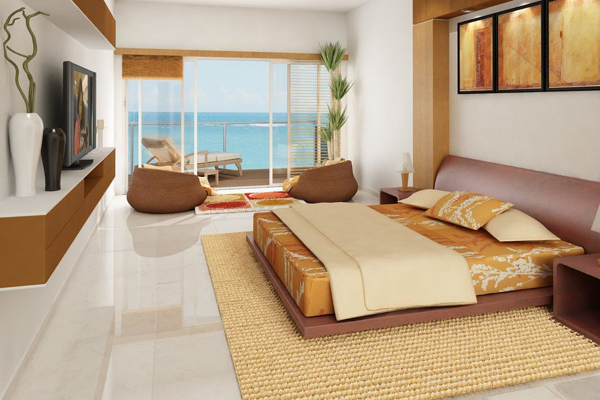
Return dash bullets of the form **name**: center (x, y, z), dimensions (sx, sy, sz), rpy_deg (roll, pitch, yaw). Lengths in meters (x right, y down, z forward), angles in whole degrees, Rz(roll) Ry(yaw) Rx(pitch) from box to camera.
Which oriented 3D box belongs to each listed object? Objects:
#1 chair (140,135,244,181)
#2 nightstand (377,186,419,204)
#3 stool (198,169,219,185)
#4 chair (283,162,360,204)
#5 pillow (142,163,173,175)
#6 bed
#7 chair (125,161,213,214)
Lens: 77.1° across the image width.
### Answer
- **chair**: center (-2.407, -0.961, 8.223), dimensions (1.528, 0.690, 0.808), rpy_deg (-4, 7, -31)
- **nightstand**: center (1.484, -0.084, 5.750), dimensions (0.318, 0.248, 0.420), rpy_deg (-5, 13, -14)
- **stool**: center (-2.046, -0.529, 8.367), dimensions (0.382, 0.307, 0.355), rpy_deg (-2, 11, -16)
- **chair**: center (0.478, -0.300, 6.787), dimensions (0.929, 0.526, 0.922), rpy_deg (1, 1, -7)
- **pillow**: center (-2.605, -0.572, 6.791), dimensions (0.367, 0.134, 0.356), rpy_deg (4, 8, 12)
- **bed**: center (1.353, 0.286, 3.582), dimensions (2.211, 0.717, 2.145), rpy_deg (-1, 7, -15)
- **chair**: center (-2.179, -0.168, 6.079), dimensions (1.035, 0.459, 0.785), rpy_deg (-2, 7, -16)
